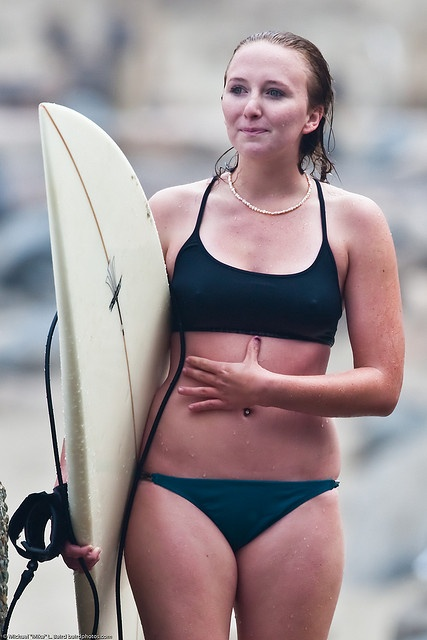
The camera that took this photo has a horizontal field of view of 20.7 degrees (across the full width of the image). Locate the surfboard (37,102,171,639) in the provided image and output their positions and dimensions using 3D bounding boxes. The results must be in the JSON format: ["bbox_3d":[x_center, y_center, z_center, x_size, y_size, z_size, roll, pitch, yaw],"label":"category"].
[{"bbox_3d":[-0.272,0.132,2.865,0.263,1.298,0.540,3,21,9],"label":"surfboard"}]
